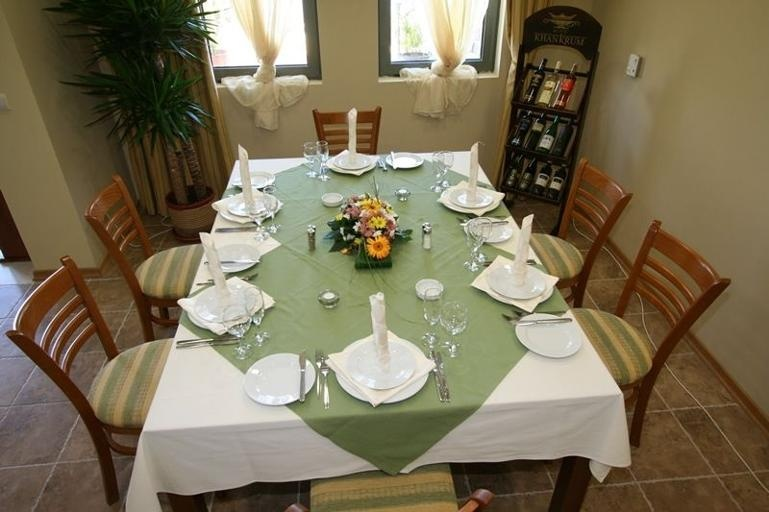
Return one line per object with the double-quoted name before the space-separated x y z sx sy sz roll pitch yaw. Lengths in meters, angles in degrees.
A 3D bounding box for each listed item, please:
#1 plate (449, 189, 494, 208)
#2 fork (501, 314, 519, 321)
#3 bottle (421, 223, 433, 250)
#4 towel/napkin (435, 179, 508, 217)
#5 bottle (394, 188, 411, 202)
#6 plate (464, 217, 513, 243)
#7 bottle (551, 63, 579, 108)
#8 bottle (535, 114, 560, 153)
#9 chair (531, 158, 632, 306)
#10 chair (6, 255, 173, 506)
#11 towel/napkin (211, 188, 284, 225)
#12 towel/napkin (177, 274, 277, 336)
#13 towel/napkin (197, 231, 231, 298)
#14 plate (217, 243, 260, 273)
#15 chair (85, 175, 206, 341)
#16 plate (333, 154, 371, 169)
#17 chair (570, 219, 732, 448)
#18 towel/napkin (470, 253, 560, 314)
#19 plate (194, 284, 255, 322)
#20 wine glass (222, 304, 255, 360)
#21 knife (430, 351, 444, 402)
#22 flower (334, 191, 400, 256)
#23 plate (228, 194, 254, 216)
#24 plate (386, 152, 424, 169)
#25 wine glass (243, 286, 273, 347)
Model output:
"plate" 0.585 -0.371 3.229 0.167 0.028 0.188 -1 36 2
"fork" 0.638 0.316 2.478 0.033 0.041 0.057 -15 2 -10
"bottle" 0.250 -0.112 2.874 0.050 0.129 0.099 6 43 7
"towel/napkin" 0.563 -0.362 3.223 0.281 0.053 0.310 12 38 21
"bottle" 0.110 -0.433 3.287 0.087 0.073 0.091 0 32 0
"plate" 0.682 -0.153 2.974 0.208 0.033 0.207 -16 37 -26
"bottle" 1.632 -1.572 4.415 0.153 0.158 0.587 11 31 27
"bottle" 1.496 -1.141 4.435 0.155 0.296 0.313 11 34 16
"chair" 1.168 -0.047 3.395 0.636 1.041 0.627 1 31 -3
"chair" -1.733 0.776 2.838 0.885 1.357 0.748 0 39 -10
"towel/napkin" -0.900 -0.314 3.151 0.284 0.053 0.284 -7 35 -16
"towel/napkin" -0.846 0.254 2.431 0.322 0.081 0.315 -30 45 -35
"towel/napkin" -0.871 0.049 2.515 0.103 0.464 0.081 -15 4 -21
"plate" -0.837 0.005 2.791 0.180 0.021 0.182 -15 43 -25
"chair" -1.461 0.083 3.288 0.679 1.064 0.620 -9 34 -17
"plate" -0.243 -0.704 3.636 0.170 0.028 0.191 1 37 -1
"chair" 1.321 0.455 2.848 0.690 1.096 0.681 6 29 0
"towel/napkin" 0.659 0.185 2.576 0.311 0.046 0.335 19 45 25
"plate" -0.832 0.239 2.479 0.216 0.042 0.232 -2 34 -7
"wine glass" -0.707 0.373 2.337 0.123 0.239 0.113 -29 51 -34
"knife" 0.255 0.562 2.266 0.052 0.023 0.288 4 38 -10
"flower" -0.104 -0.193 2.799 0.351 0.237 0.360 28 50 12
"plate" -0.940 -0.329 3.189 0.160 0.035 0.159 -21 53 -30
"plate" 0.152 -0.729 3.701 0.186 0.029 0.193 5 42 -2
"wine glass" -0.634 0.314 2.402 0.126 0.264 0.138 -1 43 -10
